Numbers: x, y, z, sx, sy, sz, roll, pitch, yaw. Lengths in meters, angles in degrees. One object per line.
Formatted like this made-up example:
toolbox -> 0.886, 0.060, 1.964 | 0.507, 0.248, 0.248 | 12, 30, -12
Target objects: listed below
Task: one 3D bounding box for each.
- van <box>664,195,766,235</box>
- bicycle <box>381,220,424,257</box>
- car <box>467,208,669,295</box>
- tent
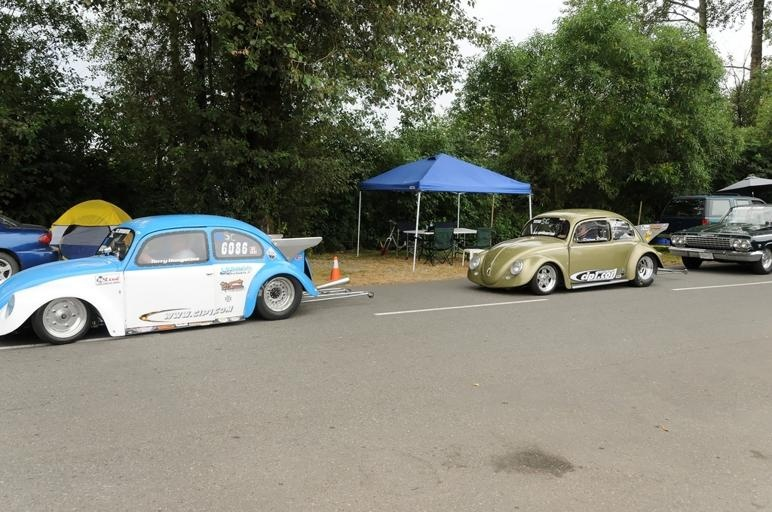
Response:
van -> 11.742, -1.479, 20.634 | 3.326, 1.616, 1.623 | -14, 11, -29
bicycle -> 0.471, -0.825, 21.581 | 1.488, 2.036, 1.405 | 1, -2, -11
car -> 4.474, -0.127, 14.345 | 4.675, 1.893, 1.329 | -4, 11, -22
tent -> -7.407, -0.731, 14.047 | 2.049, 0.991, 2.036 | -4, 15, -35
